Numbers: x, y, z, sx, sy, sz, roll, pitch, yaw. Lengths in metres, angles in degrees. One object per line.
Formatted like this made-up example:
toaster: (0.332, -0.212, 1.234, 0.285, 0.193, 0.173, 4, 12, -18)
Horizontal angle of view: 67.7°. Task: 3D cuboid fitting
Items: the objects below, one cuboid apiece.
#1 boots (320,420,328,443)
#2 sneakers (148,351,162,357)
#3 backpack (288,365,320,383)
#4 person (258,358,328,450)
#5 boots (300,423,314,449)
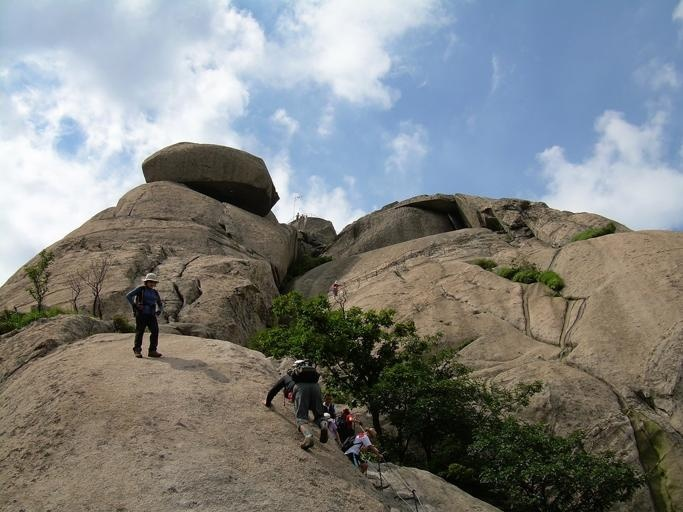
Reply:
boots: (-0.346, 3.241, 9.620, 0.149, 0.167, 0.384, -3, -85, -19)
sneakers: (-4.172, 2.148, 11.352, 0.250, 0.103, 0.096, -3, -6, 12)
backpack: (-0.716, 2.317, 9.969, 0.441, 0.302, 0.395, -8, -39, 0)
person: (-0.750, 2.664, 9.837, 1.019, 1.796, 0.657, 6, -75, -24)
boots: (-0.658, 3.253, 9.333, 0.199, 0.389, 0.400, 4, -51, -24)
